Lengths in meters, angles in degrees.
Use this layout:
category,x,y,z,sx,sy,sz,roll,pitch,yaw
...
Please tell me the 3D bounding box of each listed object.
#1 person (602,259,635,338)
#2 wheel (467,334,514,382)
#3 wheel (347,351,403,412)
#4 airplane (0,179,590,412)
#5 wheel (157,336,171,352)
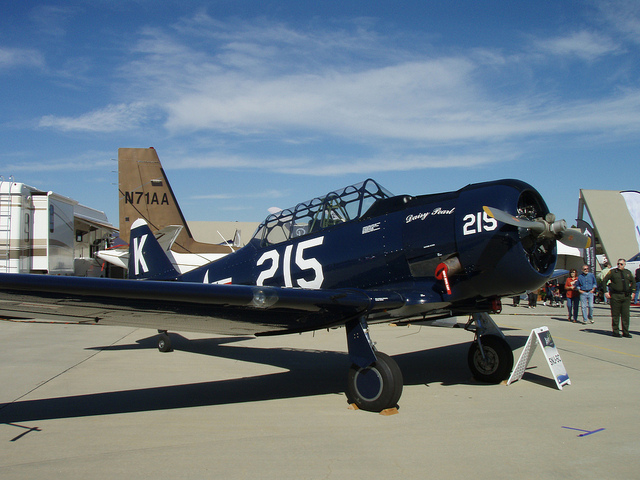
category,x,y,z,sx,sy,sz,roll,pitch,yaw
person,6.487,1.270,12.143,0.617,1.793,0.914,3,8,26
wheel,2.597,1.832,8.496,0.911,0.704,0.310,-9,-6,39
wheel,0.704,1.864,7.370,0.698,0.775,0.271,4,9,32
airplane,-0.247,0.580,7.995,5.363,1.569,5.982,-7,-4,37
wheel,-2.909,1.957,10.426,0.294,0.254,0.100,-39,-25,32
